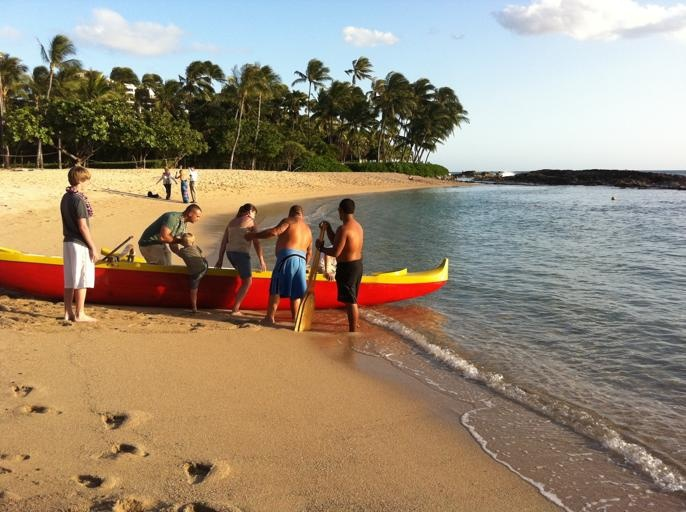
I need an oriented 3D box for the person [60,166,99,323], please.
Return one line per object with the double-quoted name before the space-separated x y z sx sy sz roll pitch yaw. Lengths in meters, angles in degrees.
"person" -2.879 -0.121 5.874 0.330 1.756 0.287 0 13 -24
